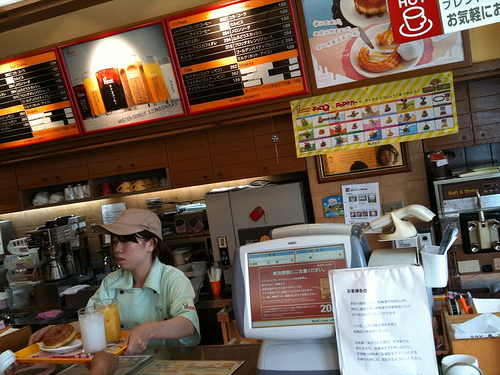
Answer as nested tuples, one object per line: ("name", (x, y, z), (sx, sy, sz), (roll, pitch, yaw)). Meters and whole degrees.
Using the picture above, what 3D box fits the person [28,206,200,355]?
("person", (-0.973, 0.625, 2.517), (0.913, 1.144, 0.821), (-16, -28, 30))

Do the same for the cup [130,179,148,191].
("cup", (-1.286, -0.030, 4.137), (0.184, 0.114, 0.130), (-3, -1, 6))

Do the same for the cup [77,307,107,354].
("cup", (-0.611, 0.551, 1.400), (0.111, 0.185, 0.117), (2, 6, 0))

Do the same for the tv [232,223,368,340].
("tv", (0.240, 0.327, 1.287), (0.509, 0.372, 0.474), (-8, -17, 16))

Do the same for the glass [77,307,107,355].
("glass", (-0.617, 0.573, 1.431), (0.112, 0.152, 0.104), (-4, -12, -28))

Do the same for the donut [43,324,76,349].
("donut", (-0.824, 0.644, 1.543), (0.068, 0.102, 0.105), (-8, 4, 26))

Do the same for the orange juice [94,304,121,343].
("orange juice", (-0.578, 0.558, 1.472), (0.088, 0.143, 0.089), (3, 6, -14))

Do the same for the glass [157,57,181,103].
("glass", (-0.801, -1.037, 3.435), (0.241, 0.369, 0.074), (2, 8, 9))

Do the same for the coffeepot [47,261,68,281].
("coffeepot", (-1.954, 0.835, 3.659), (0.197, 0.158, 0.171), (-9, 3, -22))

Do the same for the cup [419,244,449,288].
("cup", (0.556, 0.245, 1.081), (0.070, 0.136, 0.178), (-9, 4, 25))
